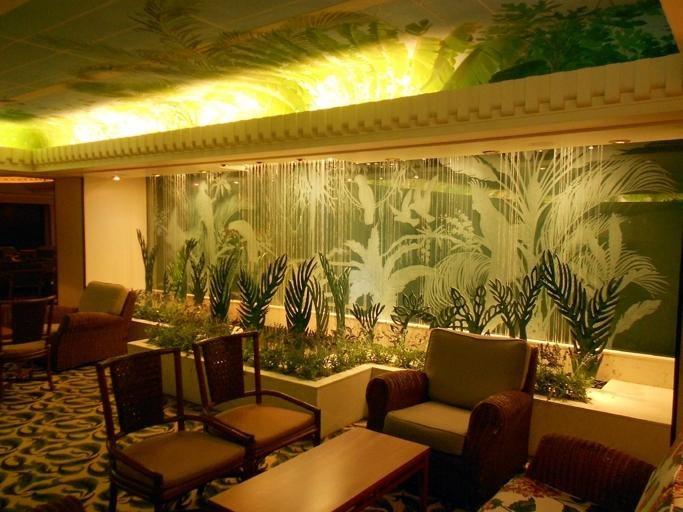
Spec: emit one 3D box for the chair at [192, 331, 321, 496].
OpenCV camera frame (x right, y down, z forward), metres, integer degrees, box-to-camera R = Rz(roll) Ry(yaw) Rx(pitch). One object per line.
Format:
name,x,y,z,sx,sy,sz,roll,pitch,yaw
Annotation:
chair,-0.722,1.367,3.990,0.906,1.282,0.830,0,2,30

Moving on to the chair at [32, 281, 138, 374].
chair,-3.985,1.028,7.283,1.458,1.049,1.370,0,3,-35

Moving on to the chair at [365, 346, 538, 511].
chair,1.046,1.303,4.563,1.367,1.353,1.363,-1,-2,42
